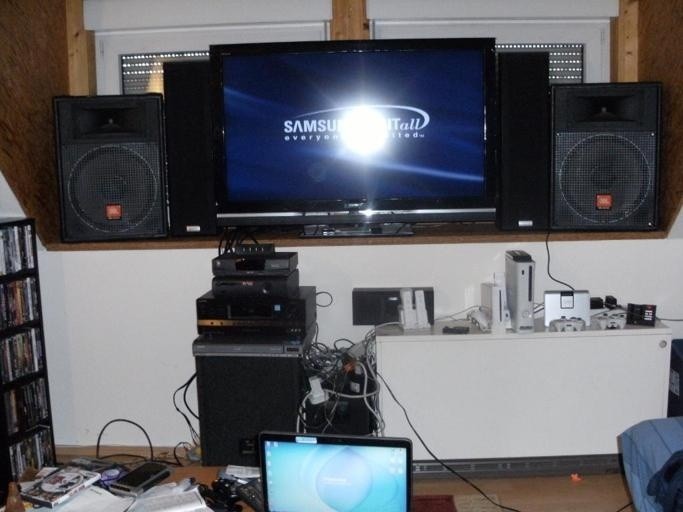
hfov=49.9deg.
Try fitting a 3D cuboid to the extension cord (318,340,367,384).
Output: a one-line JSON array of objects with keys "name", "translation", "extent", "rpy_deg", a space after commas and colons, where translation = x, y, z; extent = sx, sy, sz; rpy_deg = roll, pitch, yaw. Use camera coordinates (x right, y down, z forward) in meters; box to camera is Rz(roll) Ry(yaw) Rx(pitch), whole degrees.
[{"name": "extension cord", "translation": [-0.008, 0.566, 3.974], "extent": [0.159, 0.104, 0.239], "rpy_deg": [-3, 27, 5]}]

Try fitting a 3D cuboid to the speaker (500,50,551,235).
[{"name": "speaker", "translation": [0.961, -0.590, 3.831], "extent": [0.248, 0.909, 0.156], "rpy_deg": [-2, -3, -2]}]

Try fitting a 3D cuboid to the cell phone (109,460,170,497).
[{"name": "cell phone", "translation": [-0.892, 0.993, 3.285], "extent": [0.101, 0.064, 0.186], "rpy_deg": [8, 15, 22]}]
